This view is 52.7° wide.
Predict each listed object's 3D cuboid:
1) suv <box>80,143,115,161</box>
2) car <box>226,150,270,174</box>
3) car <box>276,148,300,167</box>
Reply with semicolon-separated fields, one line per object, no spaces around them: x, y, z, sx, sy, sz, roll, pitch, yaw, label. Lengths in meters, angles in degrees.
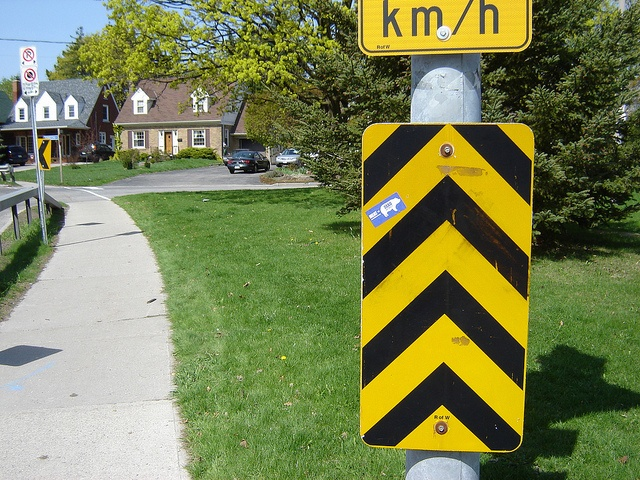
-16.504;-6.386;47.537;1.118;1.120;2.748;0;17;6;suv
-4.392;-4.675;38.817;1.247;1.200;2.978;7;12;34;car
-2.164;-5.159;40.881;1.116;1.124;4.463;-1;10;-8;car
